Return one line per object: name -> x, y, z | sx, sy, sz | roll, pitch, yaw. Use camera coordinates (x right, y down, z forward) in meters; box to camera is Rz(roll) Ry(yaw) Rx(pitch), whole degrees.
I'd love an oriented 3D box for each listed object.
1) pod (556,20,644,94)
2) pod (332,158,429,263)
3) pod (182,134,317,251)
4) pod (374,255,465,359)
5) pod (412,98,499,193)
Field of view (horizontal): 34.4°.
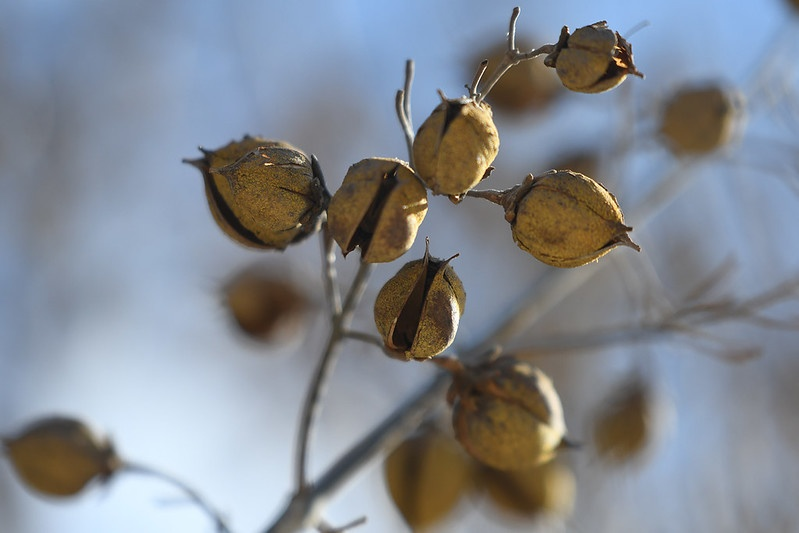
pod -> 0.697, -0.713, 4.516 | 0.305, 0.208, 0.208 | 17, 55, -1
pod -> -0.068, -0.203, 4.417 | 0.253, 0.383, 0.263 | 25, 3, -3
pod -> -0.544, -0.258, 4.688 | 0.273, 0.259, 0.497 | -29, 69, -26
pod -> 0.061, 0.156, 4.588 | 0.185, 0.367, 0.273 | 27, 19, -10
pod -> 0.205, -0.397, 4.512 | 0.231, 0.348, 0.187 | 32, 16, 12
